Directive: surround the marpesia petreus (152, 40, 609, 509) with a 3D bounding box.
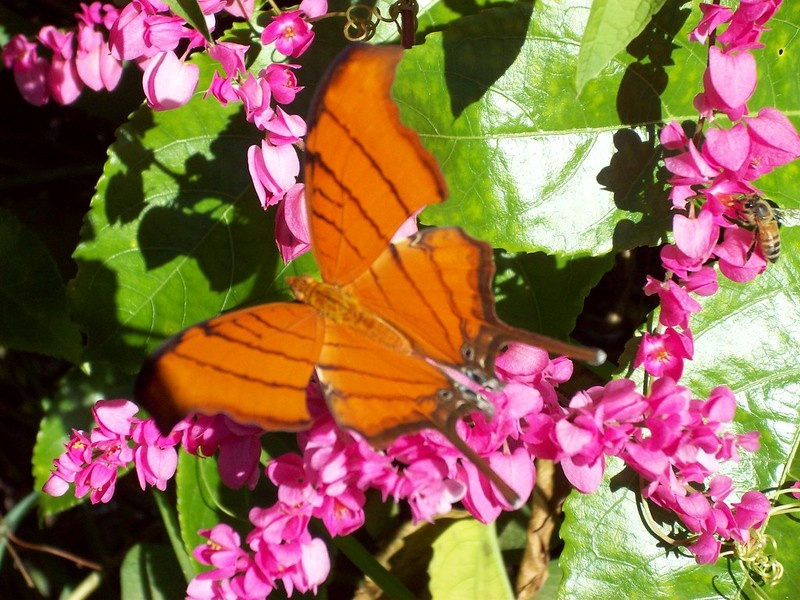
[{"bbox_3d":[-0.044,0.108,1.465,0.638,0.369,0.721,36,81,12],"label":"marpesia petreus"}]
